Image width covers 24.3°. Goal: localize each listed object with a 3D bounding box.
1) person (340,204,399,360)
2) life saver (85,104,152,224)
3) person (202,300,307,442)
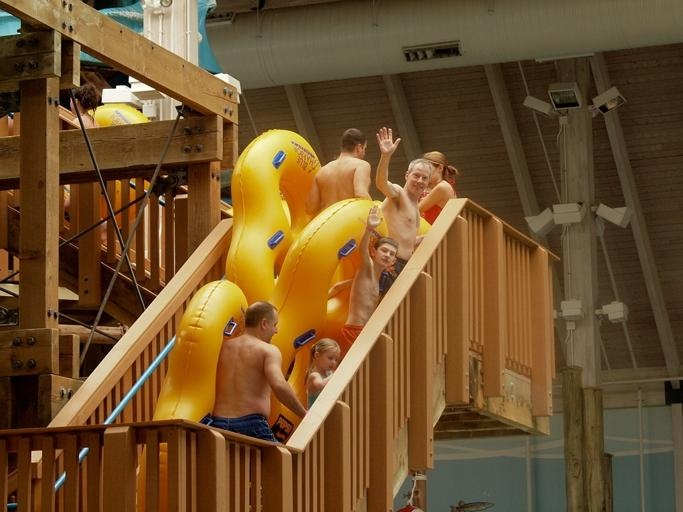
[{"bbox_3d":[0.260,0.165,12.493,0.472,1.195,0.804,2,-13,-10],"label":"person"},{"bbox_3d":[-2.183,-1.033,14.893,0.264,1.025,0.994,-11,-6,17],"label":"life saver"},{"bbox_3d":[-0.684,0.866,11.750,0.849,1.082,0.745,8,-4,33],"label":"person"}]
